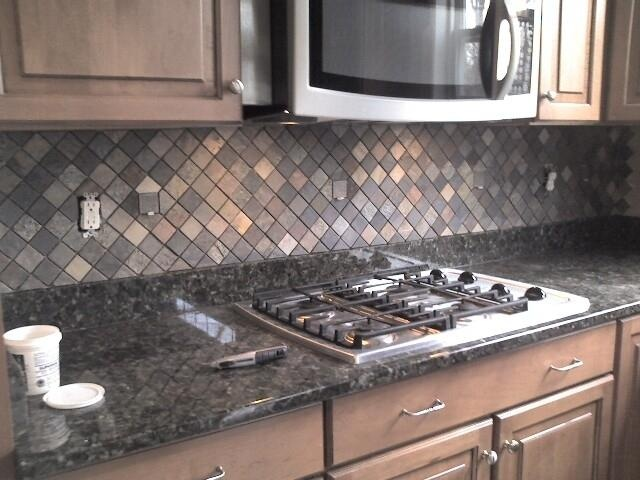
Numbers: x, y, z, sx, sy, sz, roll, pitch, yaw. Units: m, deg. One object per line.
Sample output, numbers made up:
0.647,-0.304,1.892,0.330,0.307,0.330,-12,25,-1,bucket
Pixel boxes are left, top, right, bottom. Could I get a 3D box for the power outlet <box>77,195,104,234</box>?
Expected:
-0.708,-0.080,1.701,0.065,0.114,0.022,-3,8,-29,power outlet
